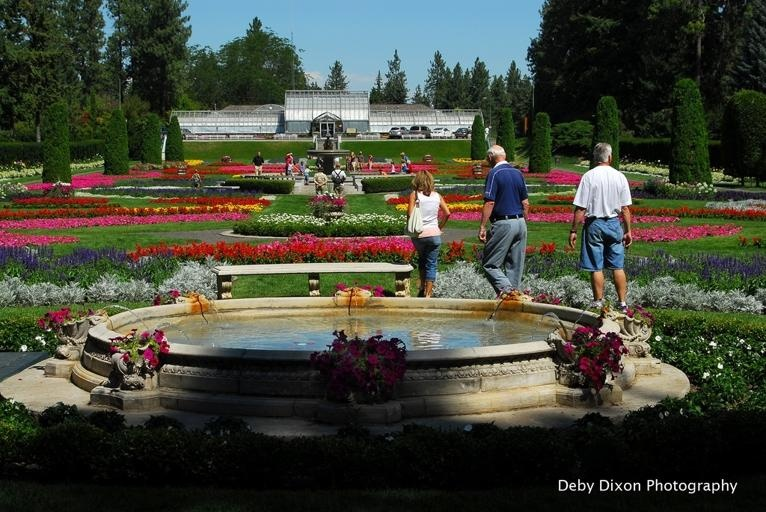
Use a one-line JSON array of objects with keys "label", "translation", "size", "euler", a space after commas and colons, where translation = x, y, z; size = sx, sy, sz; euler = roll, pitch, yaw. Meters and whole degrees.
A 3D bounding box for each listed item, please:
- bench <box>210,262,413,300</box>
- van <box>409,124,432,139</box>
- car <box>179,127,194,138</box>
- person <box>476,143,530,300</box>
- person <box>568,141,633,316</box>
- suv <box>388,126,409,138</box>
[{"label": "bench", "translation": [-1.073, 0.344, 13.625], "size": [3.046, 0.507, 1.042], "euler": [0, 14, -1]}, {"label": "van", "translation": [3.627, -12.161, 84.803], "size": [2.197, 1.122, 1.492], "euler": [-2, 9, -9]}, {"label": "car", "translation": [-18.481, -11.686, 80.886], "size": [0.988, 0.765, 7.200], "euler": [-3, 15, -13]}, {"label": "person", "translation": [1.696, -0.442, 12.101], "size": [0.660, 2.092, 1.061], "euler": [2, 14, 8]}, {"label": "person", "translation": [2.930, -0.352, 11.576], "size": [0.793, 2.285, 0.635], "euler": [3, 14, 13]}, {"label": "suv", "translation": [1.354, -11.796, 82.855], "size": [1.069, 0.892, 2.387], "euler": [-1, 1, 4]}]
